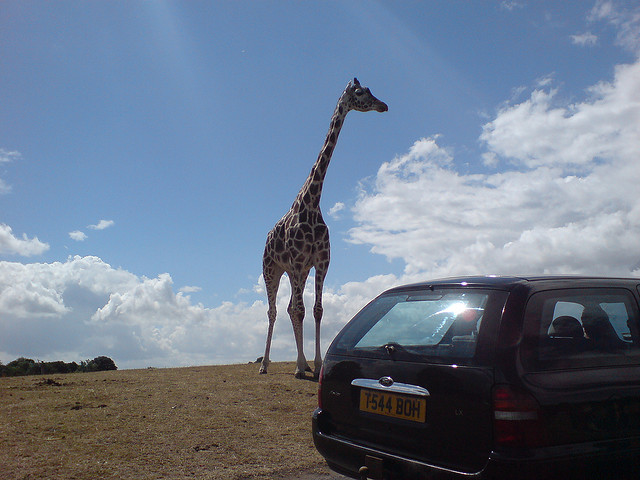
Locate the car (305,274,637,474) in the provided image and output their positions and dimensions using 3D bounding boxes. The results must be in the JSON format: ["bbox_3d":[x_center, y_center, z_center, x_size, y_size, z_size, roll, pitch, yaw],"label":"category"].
[{"bbox_3d":[1.771,0.871,4.181,2.816,1.519,1.687,6,-15,-36],"label":"car"}]

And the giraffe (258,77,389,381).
[{"bbox_3d":[-0.052,-0.139,13.538,2.606,10.340,3.112,4,-1,-19],"label":"giraffe"}]
